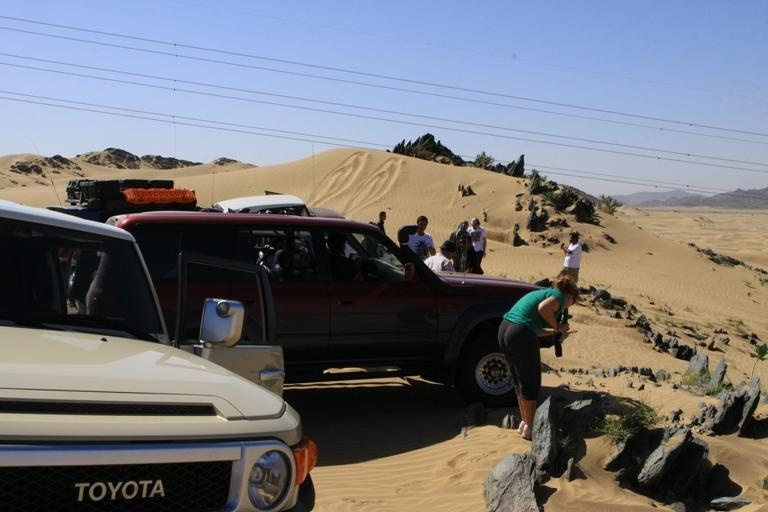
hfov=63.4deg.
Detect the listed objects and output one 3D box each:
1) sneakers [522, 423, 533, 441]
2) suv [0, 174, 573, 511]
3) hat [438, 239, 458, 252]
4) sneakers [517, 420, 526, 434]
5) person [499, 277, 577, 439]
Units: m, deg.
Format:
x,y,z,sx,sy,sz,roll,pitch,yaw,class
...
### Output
x,y,z,sx,sy,sz,roll,pitch,yaw,class
1.591,1.981,6.952,0.070,0.189,0.078,-4,44,7,sneakers
-0.511,0.566,7.771,5.863,2.509,2.720,-1,2,-13,suv
1.044,-0.153,10.301,0.245,0.101,0.273,3,-3,-7,hat
1.584,1.939,7.078,0.134,0.125,0.077,3,9,-23,sneakers
1.743,1.138,7.083,0.808,1.756,0.616,-7,10,-28,person
